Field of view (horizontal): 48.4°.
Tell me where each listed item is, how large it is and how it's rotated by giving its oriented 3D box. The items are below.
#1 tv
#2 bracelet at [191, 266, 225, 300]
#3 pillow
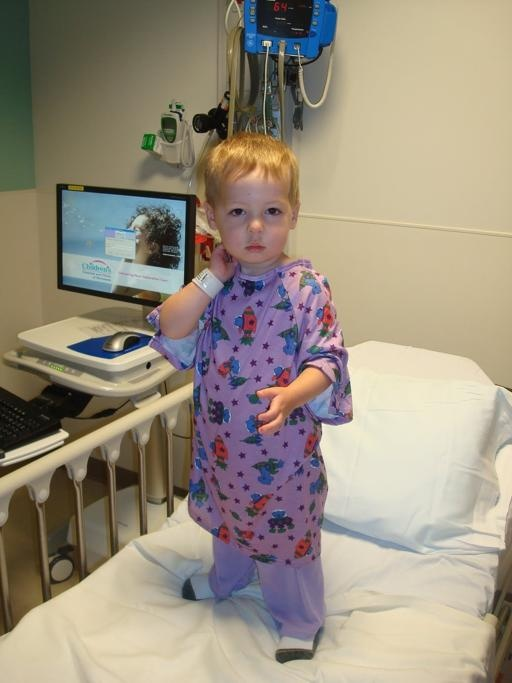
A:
[{"bbox_3d":[-0.430,-0.307,1.823,0.574,0.357,0.047,12,13,30],"label":"tv"},{"bbox_3d":[-0.083,-0.107,0.967,0.046,0.036,0.046,43,-5,32],"label":"bracelet"},{"bbox_3d":[0.410,0.256,1.432,0.418,0.427,0.101,11,-7,27],"label":"pillow"}]
